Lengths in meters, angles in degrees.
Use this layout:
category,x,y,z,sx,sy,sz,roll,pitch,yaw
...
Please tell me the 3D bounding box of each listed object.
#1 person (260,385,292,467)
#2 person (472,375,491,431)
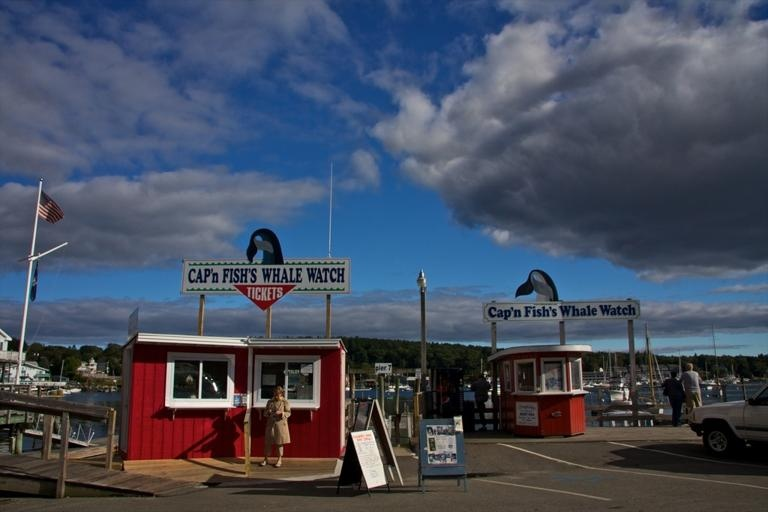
category,x,y,z,sx,sy,sz,roll,pitch,yaw
person,-3.216,4.997,18.275,0.793,2.295,1.208,1,-14,-11
person,4.115,6.025,25.786,0.718,2.218,1.315,-4,-13,8
